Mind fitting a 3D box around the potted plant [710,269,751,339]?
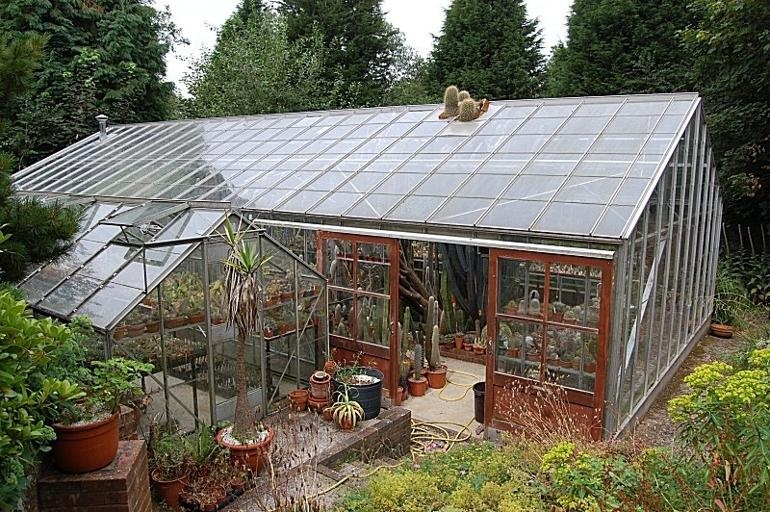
[{"bbox_3d":[8.696,1.212,14.853,0.805,1.362,1.927,5,7,32],"label":"potted plant"}]
